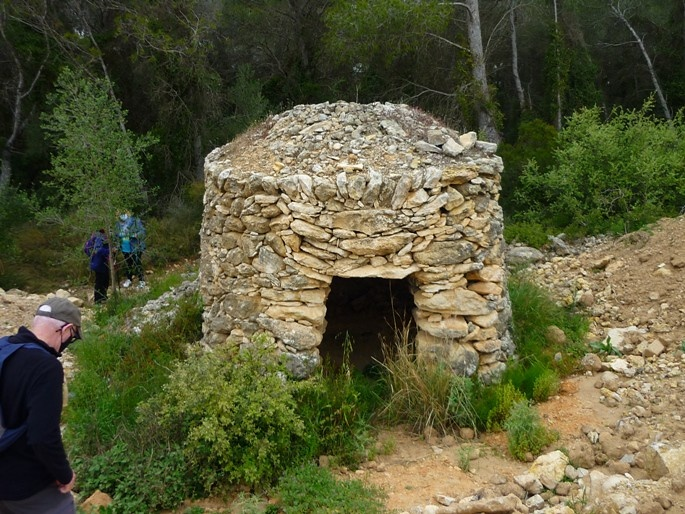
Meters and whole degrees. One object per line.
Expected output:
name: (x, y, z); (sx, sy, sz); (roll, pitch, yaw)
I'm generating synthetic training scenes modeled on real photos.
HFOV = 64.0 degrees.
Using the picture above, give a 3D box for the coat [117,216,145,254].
coat: (-4.400, -0.520, 11.284); (0.547, 0.794, 0.449); (1, 20, -4)

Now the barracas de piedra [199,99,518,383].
barracas de piedra: (-0.086, -0.466, 8.096); (3.165, 2.945, 3.601); (-1, 3, -6)

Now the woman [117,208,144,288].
woman: (-4.404, -0.214, 11.292); (0.497, 1.687, 0.508); (-3, 7, -4)

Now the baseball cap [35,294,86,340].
baseball cap: (-2.440, 0.545, 4.825); (0.286, 0.253, 0.394); (23, 4, 36)
